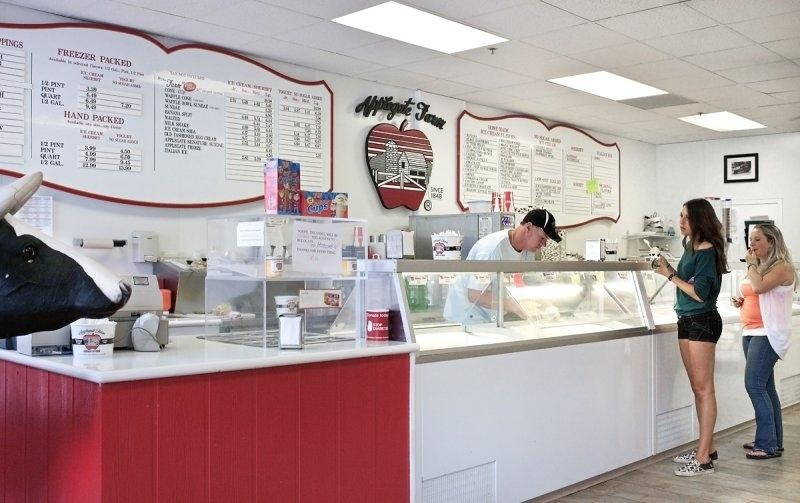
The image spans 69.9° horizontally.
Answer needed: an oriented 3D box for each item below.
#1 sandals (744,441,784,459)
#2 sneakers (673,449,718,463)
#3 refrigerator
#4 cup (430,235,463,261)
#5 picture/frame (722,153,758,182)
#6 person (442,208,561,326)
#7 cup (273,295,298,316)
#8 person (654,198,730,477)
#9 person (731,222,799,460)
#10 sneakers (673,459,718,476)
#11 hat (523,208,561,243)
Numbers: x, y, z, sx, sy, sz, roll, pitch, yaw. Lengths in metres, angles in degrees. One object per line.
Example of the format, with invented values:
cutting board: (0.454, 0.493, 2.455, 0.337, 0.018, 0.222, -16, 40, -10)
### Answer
sandals: (3.190, 1.750, 5.046, 0.440, 0.143, 0.149, 4, -10, -10)
sneakers: (2.471, 1.718, 4.812, 0.420, 0.147, 0.137, 2, -10, -5)
refrigerator: (0.665, -0.008, 6.221, 0.966, 0.644, 0.558, -1, -1, 40)
cup: (0.327, -0.018, 3.980, 0.181, 0.124, 0.178, 0, -8, 0)
picture/frame: (5.258, -1.289, 8.842, 0.448, 0.435, 0.037, -13, -4, 36)
person: (0.771, 0.072, 4.349, 0.692, 0.816, 1.493, -1, 0, 23)
cup: (-0.625, 0.297, 3.127, 0.120, 0.079, 0.108, 1, -1, -12)
person: (2.372, 0.681, 4.632, 0.430, 2.316, 0.316, -1, 0, 34)
person: (3.219, 0.768, 5.030, 0.407, 2.178, 0.430, -1, 0, 33)
sneakers: (2.376, 1.747, 4.668, 0.360, 0.115, 0.124, 4, -13, -14)
hat: (1.180, -0.211, 4.793, 0.337, 0.181, 0.215, 24, 3, 2)
